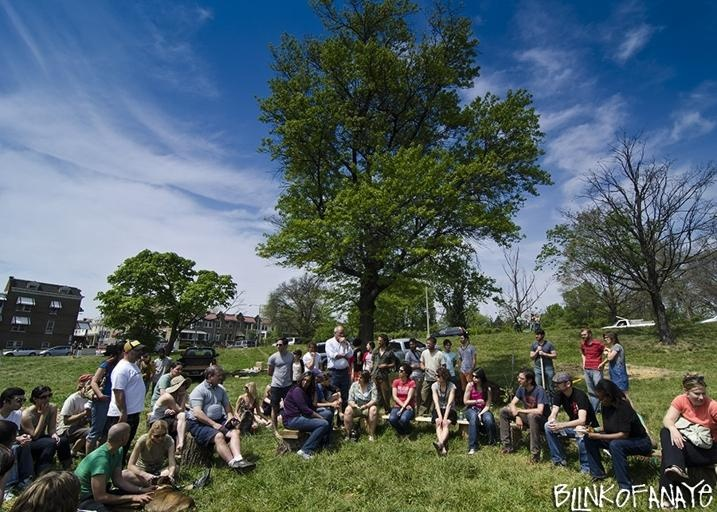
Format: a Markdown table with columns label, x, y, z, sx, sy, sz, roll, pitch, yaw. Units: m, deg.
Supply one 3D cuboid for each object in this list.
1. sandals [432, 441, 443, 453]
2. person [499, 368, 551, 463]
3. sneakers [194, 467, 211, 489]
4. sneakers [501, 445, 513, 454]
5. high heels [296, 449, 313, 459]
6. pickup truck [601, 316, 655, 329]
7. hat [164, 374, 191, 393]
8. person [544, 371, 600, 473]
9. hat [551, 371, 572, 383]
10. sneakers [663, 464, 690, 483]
| label | x | y | z | sx | sy | sz | roll | pitch | yaw |
| --- | --- | --- | --- | --- | --- | --- | --- | --- | --- |
| sandals | 1.773 | 4.257 | 8.715 | 0.148 | 0.323 | 0.121 | 16 | -60 | -29 |
| person | 3.916 | 3.747 | 9.164 | 1.172 | 1.790 | 1.060 | 42 | -46 | -14 |
| sneakers | -2.893 | 4.175 | 7.369 | 0.175 | 0.220 | 0.333 | -5 | -17 | 22 |
| sneakers | 3.307 | 4.293 | 8.742 | 0.298 | 0.124 | 0.101 | 26 | -39 | -27 |
| high heels | -1.162 | 4.303 | 8.543 | 0.299 | 0.125 | 0.129 | -3 | -23 | 29 |
| pickup truck | 19.482 | 4.757 | 27.910 | 2.240 | 1.092 | 4.132 | -10 | -19 | 34 |
| hat | -3.902 | 2.747 | 8.497 | 0.394 | 0.115 | 0.395 | -13 | -27 | -44 |
| person | 4.490 | 3.520 | 8.253 | 1.237 | 1.810 | 0.964 | 34 | -43 | -12 |
| hat | 4.211 | 2.487 | 8.133 | 0.266 | 0.218 | 0.207 | -4 | -1 | 0 |
| sneakers | 5.260 | 3.555 | 6.460 | 0.488 | 0.193 | 0.182 | 28 | -36 | -18 |
